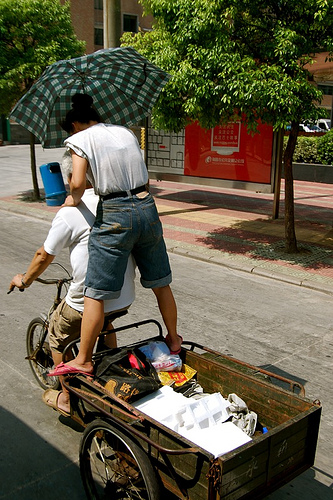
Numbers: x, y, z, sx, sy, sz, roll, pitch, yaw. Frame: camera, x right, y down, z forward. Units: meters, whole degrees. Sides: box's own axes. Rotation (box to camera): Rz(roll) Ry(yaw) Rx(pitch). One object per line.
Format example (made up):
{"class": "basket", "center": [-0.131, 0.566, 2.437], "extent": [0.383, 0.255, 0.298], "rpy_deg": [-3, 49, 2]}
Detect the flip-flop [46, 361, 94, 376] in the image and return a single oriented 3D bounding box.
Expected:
{"class": "flip-flop", "center": [-0.539, 0.673, 2.051], "extent": [0.252, 0.056, 0.089], "rpy_deg": [7, -8, -4]}

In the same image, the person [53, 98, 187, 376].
{"class": "person", "center": [-0.277, 0.037, 2.192], "extent": [0.792, 1.582, 0.631], "rpy_deg": [-1, 14, -12]}

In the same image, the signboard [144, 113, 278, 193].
{"class": "signboard", "center": [1.708, -3.388, 12.717], "extent": [5.409, 2.967, 0.222], "rpy_deg": [13, 17, 43]}

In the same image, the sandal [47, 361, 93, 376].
{"class": "sandal", "center": [-0.542, 0.670, 2.046], "extent": [0.238, 0.060, 0.089], "rpy_deg": [9, -8, -5]}

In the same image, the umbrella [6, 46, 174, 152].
{"class": "umbrella", "center": [-0.593, -1.233, 2.992], "extent": [1.329, 0.801, 0.601], "rpy_deg": [-10, 18, -43]}
